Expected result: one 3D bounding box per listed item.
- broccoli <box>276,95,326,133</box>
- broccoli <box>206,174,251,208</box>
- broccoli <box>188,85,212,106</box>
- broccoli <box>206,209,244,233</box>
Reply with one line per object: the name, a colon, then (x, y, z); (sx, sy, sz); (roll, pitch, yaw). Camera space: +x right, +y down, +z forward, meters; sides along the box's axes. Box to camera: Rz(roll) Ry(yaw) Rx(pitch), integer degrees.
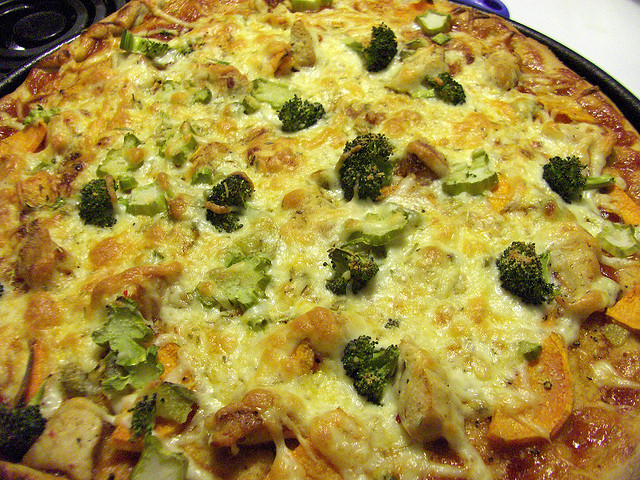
broccoli: (-0.236, -1.236, 5.606); (0.265, 0.216, 0.107); (40, 16, -31)
broccoli: (-0.772, -0.406, 5.052); (0.268, 0.287, 0.111); (15, -35, 22)
broccoli: (-1.172, -1.420, 5.872); (0.206, 0.188, 0.061); (-4, -14, 13)
broccoli: (-0.815, -0.151, 5.030); (0.232, 0.215, 0.087); (4, 28, 2)
